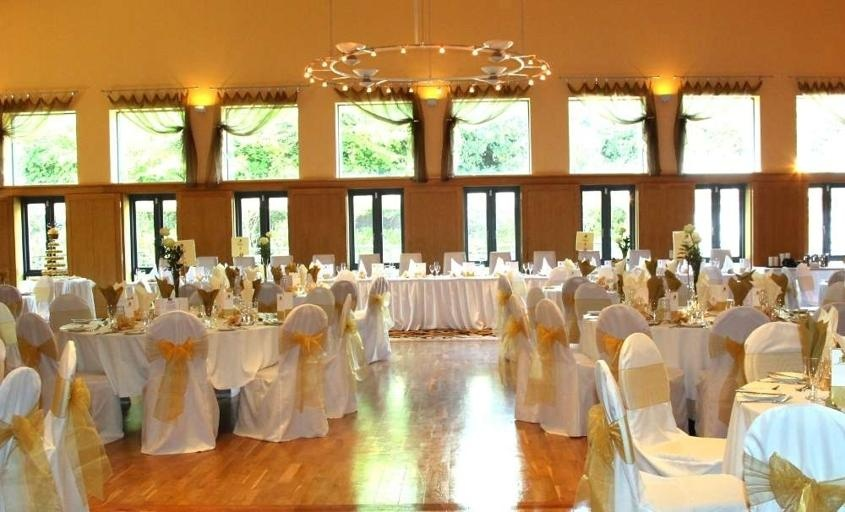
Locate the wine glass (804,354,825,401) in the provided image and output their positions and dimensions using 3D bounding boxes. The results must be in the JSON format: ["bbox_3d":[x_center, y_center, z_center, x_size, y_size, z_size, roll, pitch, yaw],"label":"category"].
[{"bbox_3d":[4.503,1.402,8.970,0.191,0.488,0.196,2,-5,6],"label":"wine glass"}]

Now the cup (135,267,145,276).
[{"bbox_3d":[-6.545,0.363,18.147,0.143,0.293,0.154,3,6,0],"label":"cup"}]

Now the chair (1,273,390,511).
[{"bbox_3d":[-2.607,1.552,11.105,4.216,1.374,1.769,-5,3,-27],"label":"chair"}]
